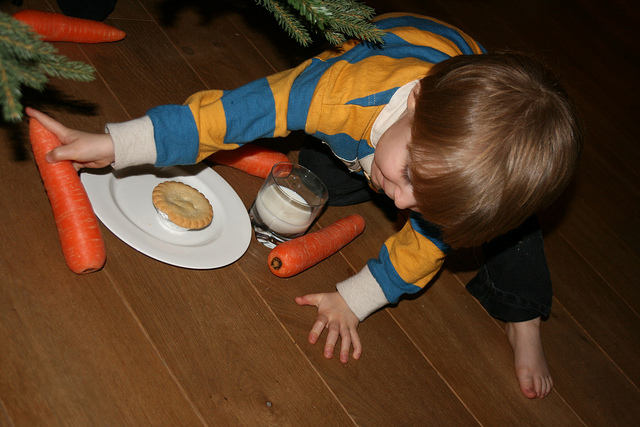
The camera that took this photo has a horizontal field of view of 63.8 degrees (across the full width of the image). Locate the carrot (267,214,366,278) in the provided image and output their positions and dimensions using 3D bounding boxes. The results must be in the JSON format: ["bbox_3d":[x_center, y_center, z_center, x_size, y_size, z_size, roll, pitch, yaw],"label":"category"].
[{"bbox_3d":[-0.005,0.096,1.606,0.371,0.098,0.098,-24,50,-39],"label":"carrot"}]

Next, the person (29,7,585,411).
[{"bbox_3d":[-0.058,-0.042,1.920,1.920,0.855,1.151,26,72,-28],"label":"person"}]

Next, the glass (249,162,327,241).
[{"bbox_3d":[-0.096,-0.038,1.633,0.219,0.184,0.252,37,25,-9],"label":"glass"}]
